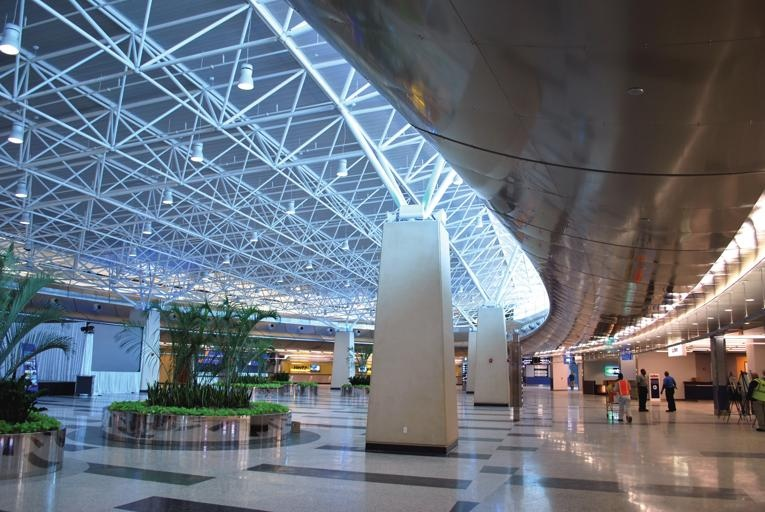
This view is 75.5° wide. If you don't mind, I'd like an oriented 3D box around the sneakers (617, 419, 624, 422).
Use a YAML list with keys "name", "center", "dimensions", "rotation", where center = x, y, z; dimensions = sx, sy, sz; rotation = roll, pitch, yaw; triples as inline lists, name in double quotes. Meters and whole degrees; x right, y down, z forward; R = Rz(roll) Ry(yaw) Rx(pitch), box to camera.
- name: "sneakers"
  center: [9.207, 6.261, 18.701]
  dimensions: [0.198, 0.062, 0.210]
  rotation: [3, -10, 1]

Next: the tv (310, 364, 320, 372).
- name: "tv"
  center: [-11.584, 19.313, 84.833]
  dimensions: [1.388, 0.973, 0.183]
  rotation: [1, -15, -3]
